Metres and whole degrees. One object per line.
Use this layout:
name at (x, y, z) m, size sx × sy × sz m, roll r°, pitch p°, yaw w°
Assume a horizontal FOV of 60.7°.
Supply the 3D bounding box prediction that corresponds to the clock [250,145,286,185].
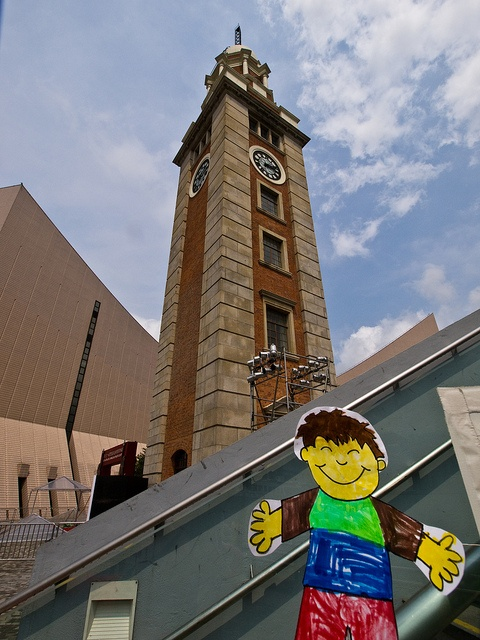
clock at (1.118, -6.546, 17.405) m, size 0.165 × 2.217 × 2.215 m, roll -20°, pitch -72°, yaw 34°
